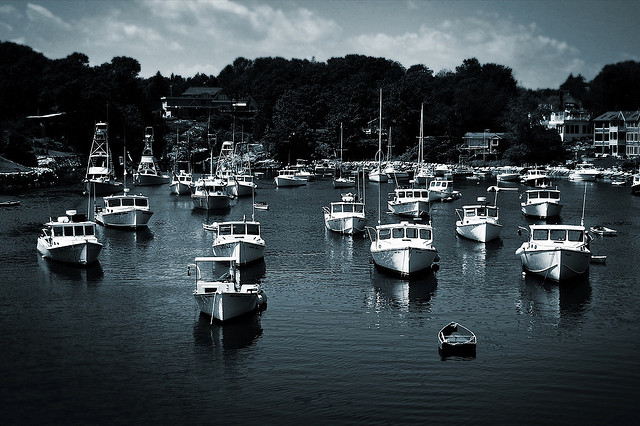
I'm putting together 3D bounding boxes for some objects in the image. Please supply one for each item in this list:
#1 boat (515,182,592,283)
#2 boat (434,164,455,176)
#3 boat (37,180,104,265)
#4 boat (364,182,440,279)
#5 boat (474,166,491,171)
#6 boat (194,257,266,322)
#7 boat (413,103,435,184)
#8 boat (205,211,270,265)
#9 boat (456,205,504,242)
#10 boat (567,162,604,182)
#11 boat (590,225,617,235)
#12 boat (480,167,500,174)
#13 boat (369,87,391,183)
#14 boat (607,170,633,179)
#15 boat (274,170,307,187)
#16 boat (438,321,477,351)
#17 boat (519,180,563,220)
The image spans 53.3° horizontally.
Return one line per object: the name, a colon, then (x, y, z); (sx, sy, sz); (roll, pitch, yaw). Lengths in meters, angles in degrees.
boat: (19.694, 3.231, 53.947); (3.085, 4.444, 7.449); (0, 1, 14)
boat: (30.888, -10.956, 160.900); (2.890, 2.934, 8.216); (0, 0, 10)
boat: (-22.950, 2.385, 57.919); (6.526, 3.970, 3.313); (12, 19, 43)
boat: (7.163, 3.078, 54.176); (4.978, 4.056, 3.536); (11, 18, 40)
boat: (46.924, -12.879, 184.003); (3.096, 1.075, 2.254); (-6, 10, -35)
boat: (-7.460, 3.826, 50.271); (4.876, 4.751, 16.025); (-3, 14, -10)
boat: (20.410, -13.425, 124.047); (3.311, 15.161, 11.372); (7, 12, 31)
boat: (-8.041, 2.544, 61.857); (4.736, 4.042, 9.944); (-2, 12, 0)
boat: (17.179, 1.086, 68.656); (4.120, 2.892, 4.953); (2, 14, 12)
boat: (62.393, -9.574, 151.509); (4.790, 4.974, 12.122); (-2, -1, 0)
boat: (31.563, 1.945, 70.983); (2.504, 0.705, 2.380); (3, 14, 13)
boat: (48.003, -12.053, 179.793); (4.227, 1.599, 7.211); (-1, -1, 12)
boat: (13.443, -17.885, 141.776); (8.211, 21.338, 3.258); (-7, 12, -45)
boat: (69.580, -8.903, 147.643); (1.264, 1.023, 5.890); (0, -1, -9)
boat: (-6.315, -7.541, 137.477); (5.903, 3.363, 8.775); (1, 13, 5)
boat: (8.648, 7.757, 40.360); (2.119, 0.691, 3.737); (0, 14, 7)
boat: (29.760, -1.220, 85.115); (4.318, 3.160, 4.585); (5, 15, 21)
